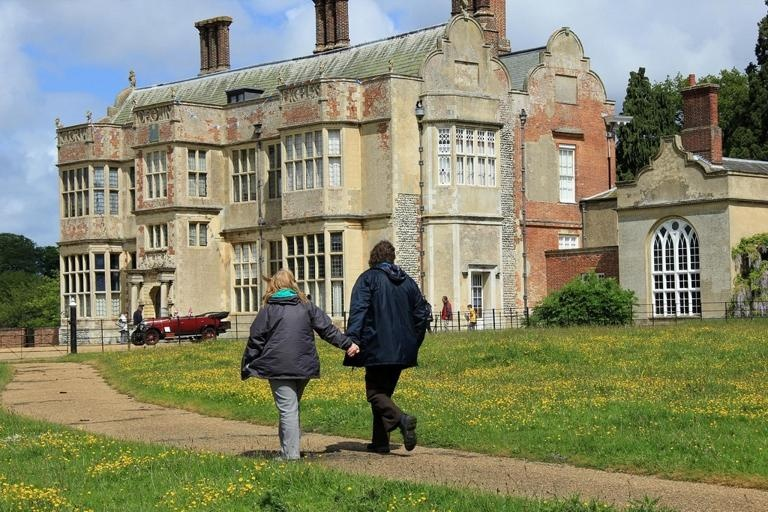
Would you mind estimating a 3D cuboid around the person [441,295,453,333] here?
[{"bbox_3d":[2.907,2.683,56.083,0.531,1.438,1.287,-1,9,3],"label":"person"}]

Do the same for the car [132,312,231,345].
[{"bbox_3d":[-9.835,3.497,58.385,3.893,1.359,1.954,2,-6,-26],"label":"car"}]
